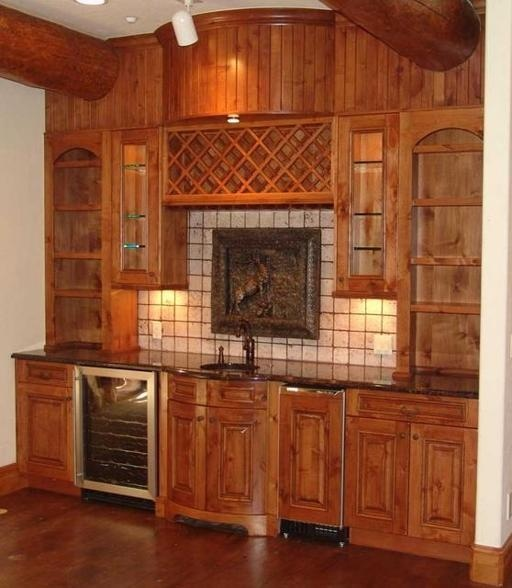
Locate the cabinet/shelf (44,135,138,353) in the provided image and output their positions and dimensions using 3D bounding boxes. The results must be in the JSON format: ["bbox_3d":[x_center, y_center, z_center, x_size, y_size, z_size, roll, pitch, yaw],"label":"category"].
[{"bbox_3d":[-1.264,-0.329,4.426,0.625,1.368,0.384,1,-1,-20],"label":"cabinet/shelf"}]

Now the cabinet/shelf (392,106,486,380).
[{"bbox_3d":[1.019,-0.264,3.447,0.440,1.116,0.350,1,0,18],"label":"cabinet/shelf"}]

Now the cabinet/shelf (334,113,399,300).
[{"bbox_3d":[0.650,-0.505,3.579,0.416,0.989,0.265,1,3,15],"label":"cabinet/shelf"}]

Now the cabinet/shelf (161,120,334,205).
[{"bbox_3d":[-0.027,-0.799,3.911,1.149,0.526,0.328,1,0,25],"label":"cabinet/shelf"}]

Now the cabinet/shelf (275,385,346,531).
[{"bbox_3d":[0.266,0.926,3.502,0.460,0.699,0.464,-1,-18,10],"label":"cabinet/shelf"}]
